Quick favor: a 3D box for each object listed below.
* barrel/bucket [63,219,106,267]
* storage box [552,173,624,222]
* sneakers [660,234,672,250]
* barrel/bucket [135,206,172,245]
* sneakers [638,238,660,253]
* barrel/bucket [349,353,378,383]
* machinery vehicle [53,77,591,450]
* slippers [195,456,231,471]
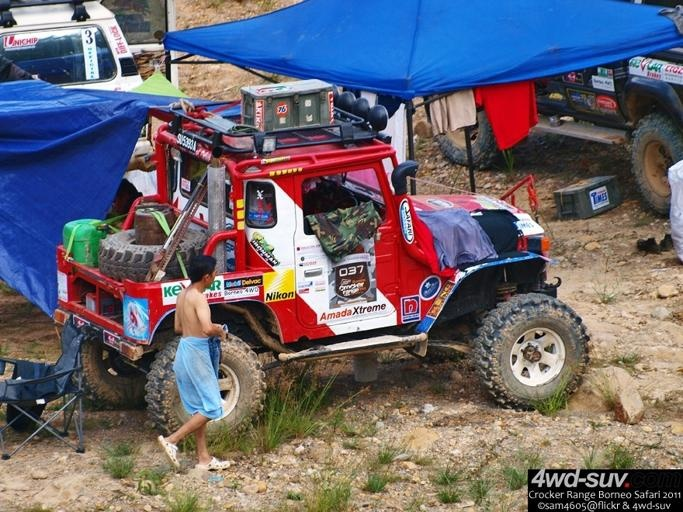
[{"bbox_3d":[-2.806,-0.088,12.535,0.432,0.460,0.461,3,8,0],"label":"barrel/bucket"},{"bbox_3d":[3.635,-1.013,17.252,0.933,0.495,0.655,-20,12,-33],"label":"storage box"},{"bbox_3d":[4.384,-0.161,15.529,0.215,0.226,0.135,-1,-2,-23],"label":"sneakers"},{"bbox_3d":[-1.919,-0.305,12.197,0.393,0.424,0.390,1,6,0],"label":"barrel/bucket"},{"bbox_3d":[4.151,-0.137,15.573,0.236,0.175,0.132,23,-8,-12],"label":"sneakers"},{"bbox_3d":[0.277,1.285,13.232,0.315,0.357,0.324,-1,10,0],"label":"barrel/bucket"},{"bbox_3d":[-0.104,-0.039,12.950,5.337,3.558,2.792,-6,18,-22],"label":"machinery vehicle"},{"bbox_3d":[-1.282,2.072,11.520,0.358,0.157,0.134,-1,8,-14],"label":"slippers"}]
